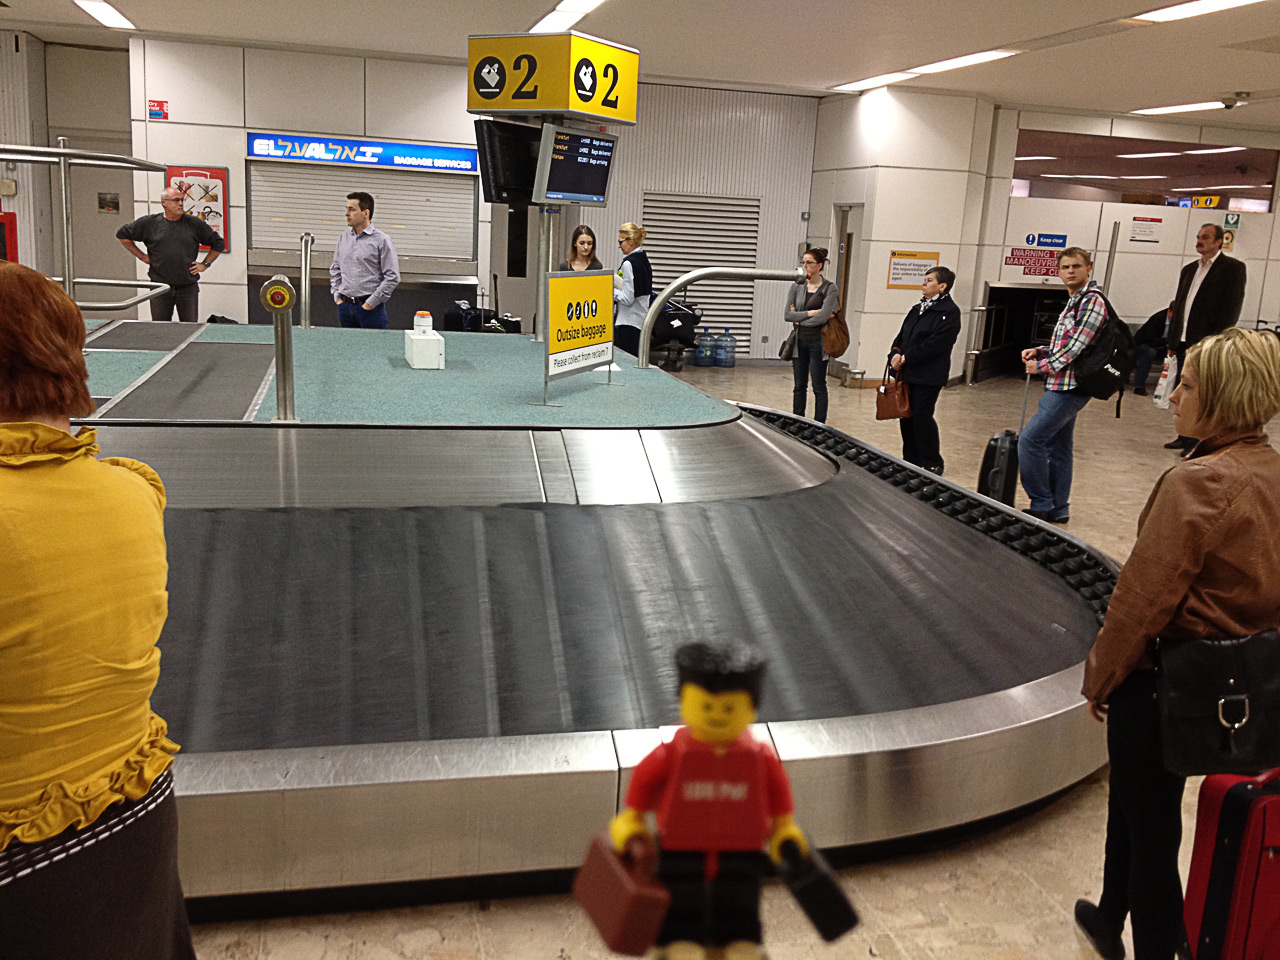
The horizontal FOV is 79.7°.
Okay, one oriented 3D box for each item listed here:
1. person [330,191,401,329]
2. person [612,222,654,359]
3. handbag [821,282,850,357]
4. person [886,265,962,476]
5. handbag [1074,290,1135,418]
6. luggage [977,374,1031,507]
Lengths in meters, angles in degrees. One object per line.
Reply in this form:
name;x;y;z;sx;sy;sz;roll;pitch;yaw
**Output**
person;-2.824;-2.256;7.803;0.617;1.341;0.903;-3;14;-21
person;-0.080;-2.022;8.079;0.382;1.337;0.944;2;13;-2
handbag;2.129;-1.745;8.297;0.251;0.794;0.470;8;14;24
person;2.566;-0.987;7.000;0.614;1.921;0.792;7;14;19
handbag;3.556;-1.064;5.802;0.402;0.756;0.524;18;31;22
luggage;2.770;-0.212;5.789;0.279;1.087;0.248;21;30;40
